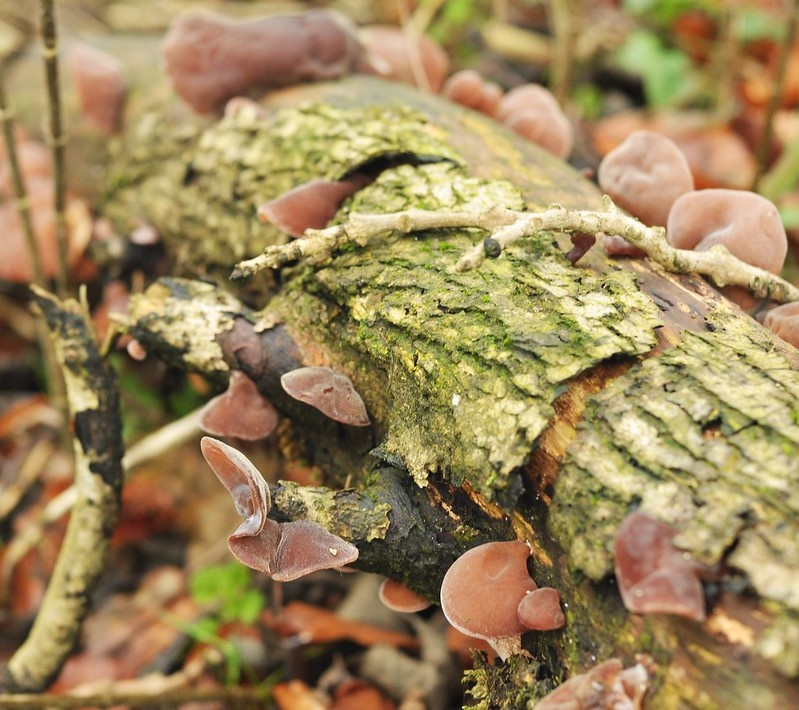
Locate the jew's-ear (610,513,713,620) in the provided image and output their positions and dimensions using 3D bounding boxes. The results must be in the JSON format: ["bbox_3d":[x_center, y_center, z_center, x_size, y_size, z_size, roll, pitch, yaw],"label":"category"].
[{"bbox_3d":[0.958,0.754,3.295,0.431,0.108,0.353,-1,69,44],"label":"jew's-ear"}]

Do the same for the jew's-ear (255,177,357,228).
[{"bbox_3d":[-0.407,-0.667,4.116,0.241,0.100,0.310,35,57,25],"label":"jew's-ear"}]
